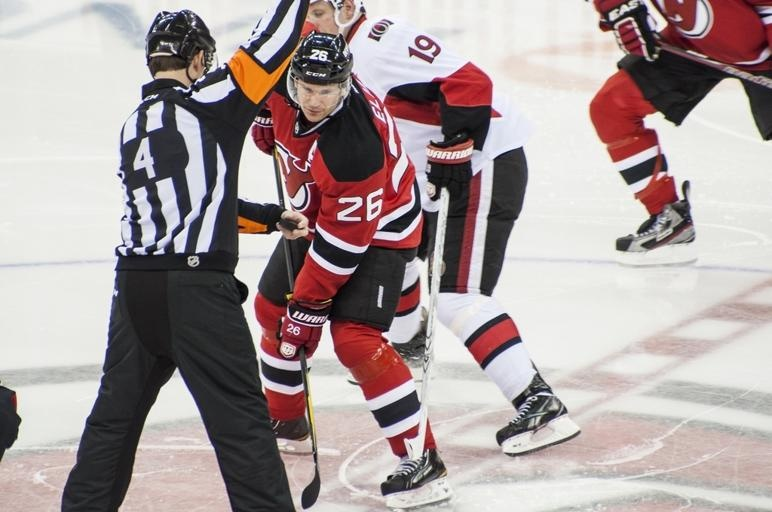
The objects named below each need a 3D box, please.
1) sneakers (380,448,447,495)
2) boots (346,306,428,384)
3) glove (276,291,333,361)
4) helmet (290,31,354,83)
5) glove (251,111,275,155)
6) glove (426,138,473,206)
[{"bbox_3d":[0.125,0.913,3.855,0.127,0.140,0.375,0,2,42],"label":"sneakers"},{"bbox_3d":[0.152,0.476,4.873,0.216,0.400,0.634,-32,-18,29],"label":"boots"},{"bbox_3d":[-0.386,0.316,3.989,0.196,0.308,0.182,26,25,4],"label":"glove"},{"bbox_3d":[-0.262,-0.836,3.791,0.263,0.164,0.328,6,35,-4],"label":"helmet"},{"bbox_3d":[-0.588,-0.594,4.438,0.085,0.185,0.195,-2,-21,1],"label":"glove"},{"bbox_3d":[0.309,-0.412,4.321,0.288,0.316,0.287,5,10,24],"label":"glove"}]
